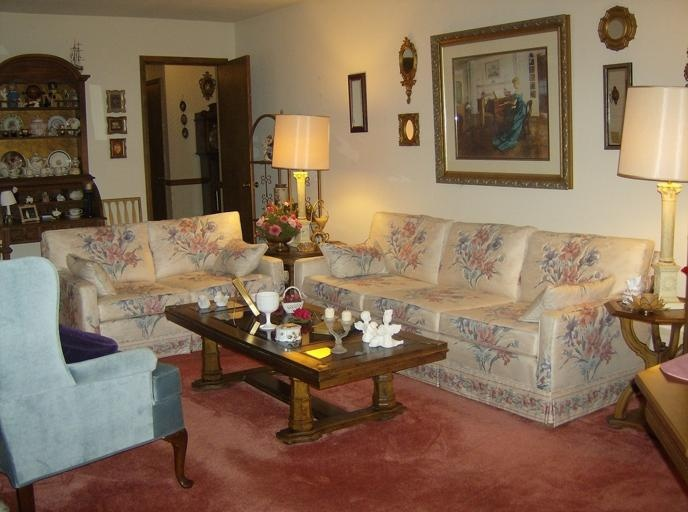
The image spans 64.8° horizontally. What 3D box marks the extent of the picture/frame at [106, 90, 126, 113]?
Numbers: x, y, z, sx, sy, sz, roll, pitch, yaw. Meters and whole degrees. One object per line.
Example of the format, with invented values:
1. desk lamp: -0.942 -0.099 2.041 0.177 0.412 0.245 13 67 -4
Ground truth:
1. picture/frame: -2.868 -1.928 6.754 0.294 0.330 0.034 -3 4 -36

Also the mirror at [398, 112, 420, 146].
1. mirror: 0.636 -1.230 5.255 0.033 0.370 0.327 -6 9 -40

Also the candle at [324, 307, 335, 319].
1. candle: -0.100 0.356 3.418 0.064 0.069 0.064 4 7 15

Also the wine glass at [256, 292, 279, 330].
1. wine glass: -0.487 0.343 3.448 0.143 0.217 0.143 6 12 27

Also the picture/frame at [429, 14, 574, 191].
1. picture/frame: 1.343 -1.288 4.475 1.587 1.596 0.130 5 11 40

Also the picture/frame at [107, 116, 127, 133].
1. picture/frame: -2.867 -1.645 6.782 0.225 0.205 0.015 -4 7 -31

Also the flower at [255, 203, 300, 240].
1. flower: -0.715 -0.311 5.439 0.458 0.277 0.457 0 24 15

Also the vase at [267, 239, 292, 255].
1. vase: -0.657 -0.105 5.425 0.165 0.110 0.166 4 7 37

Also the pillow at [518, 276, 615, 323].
1. pillow: 1.443 0.281 3.419 0.628 0.258 0.231 -5 12 -18

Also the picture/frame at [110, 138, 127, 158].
1. picture/frame: -2.864 -1.361 6.810 0.225 0.250 0.047 -6 18 -29

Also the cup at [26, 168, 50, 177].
1. cup: -3.603 -0.965 6.350 0.194 0.069 0.123 -4 8 -31

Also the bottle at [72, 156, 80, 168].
1. bottle: -3.237 -1.124 6.530 0.096 0.167 0.115 -6 12 -20

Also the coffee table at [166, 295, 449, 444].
1. coffee table: -0.261 0.710 3.438 0.820 0.596 1.639 -12 15 -43

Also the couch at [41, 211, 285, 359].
1. couch: -1.595 0.217 4.897 1.818 0.959 1.003 -8 17 -39

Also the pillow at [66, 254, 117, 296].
1. pillow: -1.992 0.017 4.248 0.263 0.200 0.548 -10 27 -30

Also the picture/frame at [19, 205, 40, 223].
1. picture/frame: -3.650 -0.495 6.263 0.188 0.182 0.270 -8 13 -30

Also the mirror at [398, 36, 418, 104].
1. mirror: 0.603 -1.769 5.211 0.233 0.583 0.062 -19 23 -37

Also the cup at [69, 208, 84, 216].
1. cup: -3.215 -0.516 6.455 0.125 0.056 0.100 2 -1 -39
